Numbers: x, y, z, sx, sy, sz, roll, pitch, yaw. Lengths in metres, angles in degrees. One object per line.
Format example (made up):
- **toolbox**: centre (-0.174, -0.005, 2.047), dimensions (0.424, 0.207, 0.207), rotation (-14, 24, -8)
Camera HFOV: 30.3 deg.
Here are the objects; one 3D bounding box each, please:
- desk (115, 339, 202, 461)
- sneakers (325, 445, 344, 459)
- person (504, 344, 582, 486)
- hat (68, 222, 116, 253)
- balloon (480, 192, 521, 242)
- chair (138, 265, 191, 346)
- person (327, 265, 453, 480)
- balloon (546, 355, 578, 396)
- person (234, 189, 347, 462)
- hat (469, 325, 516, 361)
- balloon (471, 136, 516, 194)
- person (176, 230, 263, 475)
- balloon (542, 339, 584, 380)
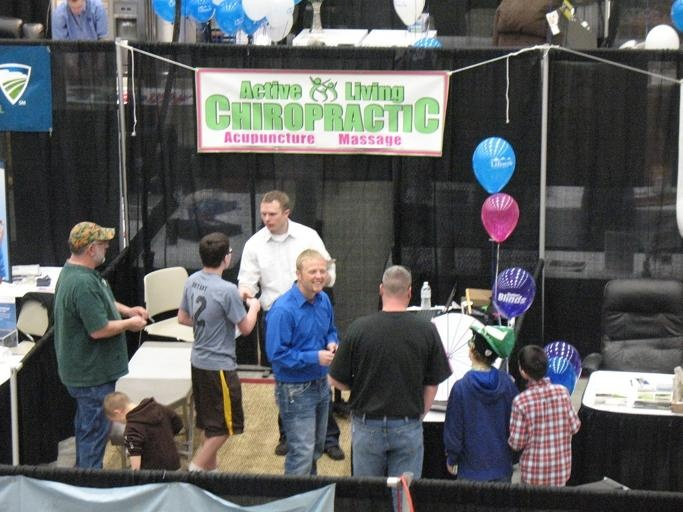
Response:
- **desk**: centre (-1.562, 0.947, 10.825), dimensions (0.651, 1.107, 1.233), rotation (0, 24, -3)
- **sneakers**: centre (-0.055, 1.670, 10.585), dimensions (0.082, 0.074, 0.157), rotation (-5, 4, -25)
- **person**: centre (1.527, 1.502, 9.562), dimensions (0.514, 1.832, 0.425), rotation (-8, 26, -6)
- **hat**: centre (-1.977, -0.149, 9.913), dimensions (0.328, 0.237, 0.266), rotation (0, 3, -11)
- **balloon**: centre (1.398, -0.350, 11.077), dimensions (0.312, 0.445, 0.209), rotation (5, 6, 14)
- **chair**: centre (-1.610, 0.442, 11.400), dimensions (0.448, 0.729, 0.435), rotation (-14, 26, -35)
- **person**: centre (0.342, 1.176, 9.514), dimensions (0.877, 2.361, 0.676), rotation (2, 19, 1)
- **balloon**: centre (1.815, 0.972, 10.335), dimensions (0.224, 0.468, 0.177), rotation (2, 34, 27)
- **person**: centre (-0.472, 0.597, 10.934), dimensions (0.773, 2.354, 0.799), rotation (-3, 14, 2)
- **hat**: centre (1.124, 0.642, 9.259), dimensions (0.264, 0.231, 0.140), rotation (21, -42, -34)
- **balloon**: centre (1.351, -0.813, 11.116), dimensions (0.347, 0.516, 0.470), rotation (0, -3, -2)
- **person**: centre (-0.991, 0.778, 10.011), dimensions (0.617, 1.926, 0.317), rotation (0, 3, -8)
- **balloon**: centre (1.886, 0.884, 10.614), dimensions (0.271, 0.270, 0.384), rotation (3, -6, -1)
